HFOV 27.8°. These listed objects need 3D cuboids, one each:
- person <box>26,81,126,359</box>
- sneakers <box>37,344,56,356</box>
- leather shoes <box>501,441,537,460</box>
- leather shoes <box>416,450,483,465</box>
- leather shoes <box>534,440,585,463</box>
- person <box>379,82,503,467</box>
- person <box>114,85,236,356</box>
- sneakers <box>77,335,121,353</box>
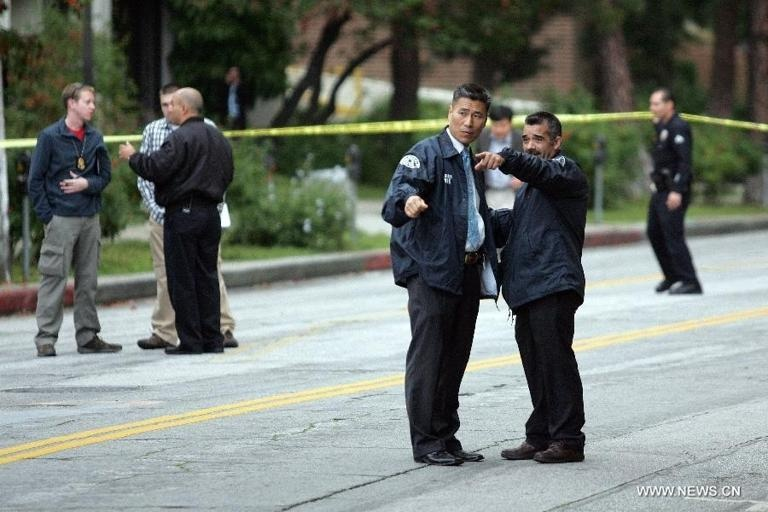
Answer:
[{"bbox_3d":[-3.481,-0.417,17.456,0.961,2.933,0.915,-2,14,-10],"label":"person"},{"bbox_3d":[-3.762,1.031,17.366,0.163,0.099,0.132,0,-11,-44],"label":"sneakers"},{"bbox_3d":[1.274,1.815,14.620,0.367,0.137,0.136,1,-5,-3],"label":"leather shoes"},{"bbox_3d":[0.617,1.847,14.414,0.330,0.090,0.252,-5,-5,23],"label":"leather shoes"},{"bbox_3d":[1.644,1.810,14.542,0.486,0.201,0.175,2,-3,-6],"label":"leather shoes"},{"bbox_3d":[0.603,0.158,14.436,0.991,3.383,0.864,-9,17,-34],"label":"person"},{"bbox_3d":[-2.238,-0.381,17.429,1.057,2.863,0.692,0,14,-1],"label":"person"},{"bbox_3d":[-3.198,0.981,17.604,0.535,0.199,0.179,-1,2,-9],"label":"sneakers"}]
